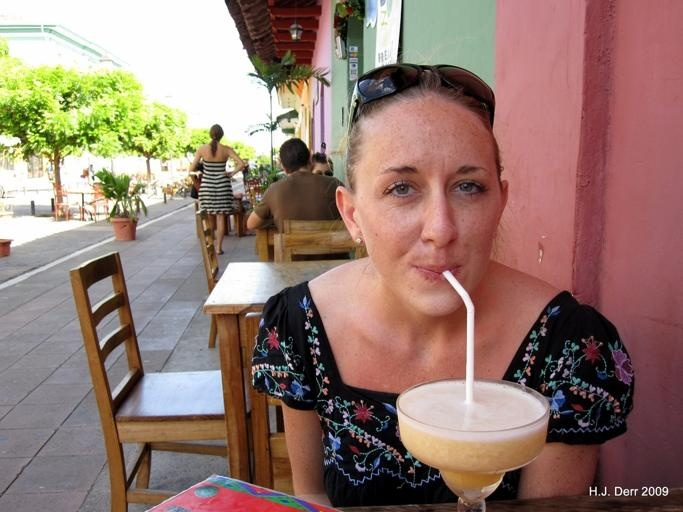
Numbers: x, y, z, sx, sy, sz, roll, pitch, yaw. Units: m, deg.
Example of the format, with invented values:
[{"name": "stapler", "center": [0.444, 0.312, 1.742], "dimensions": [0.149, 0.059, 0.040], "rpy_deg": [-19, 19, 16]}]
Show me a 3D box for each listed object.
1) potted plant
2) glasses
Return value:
[{"name": "potted plant", "center": [-5.018, -1.178, 12.329], "dimensions": [1.129, 1.627, 1.400], "rpy_deg": [-4, 7, -7]}, {"name": "glasses", "center": [0.206, -0.422, 1.434], "dimensions": [0.386, 0.172, 0.118], "rpy_deg": [-1, 11, 5]}]
